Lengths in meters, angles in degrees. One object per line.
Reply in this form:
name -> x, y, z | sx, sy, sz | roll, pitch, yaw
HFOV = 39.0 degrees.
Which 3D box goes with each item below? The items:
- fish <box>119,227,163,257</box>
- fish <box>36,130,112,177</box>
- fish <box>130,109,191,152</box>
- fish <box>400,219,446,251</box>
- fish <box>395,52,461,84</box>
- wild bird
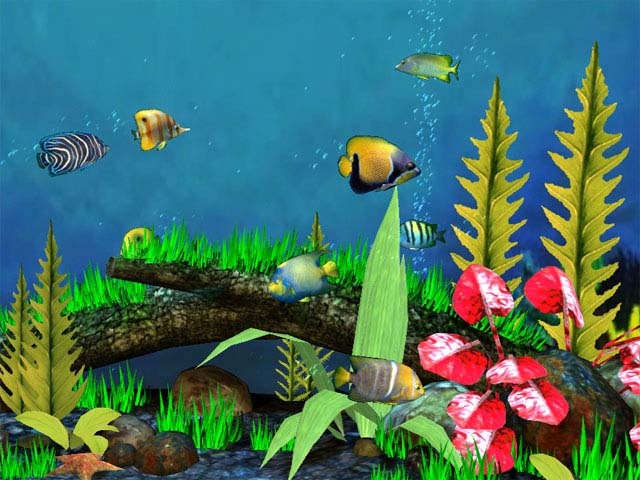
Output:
fish -> -1.415, 0.019, 7.041 | 0.279, 0.319, 0.551 | 1, -9, -13
fish -> -1.846, -0.626, 6.726 | 0.507, 0.333, 0.257 | 1, -8, -13
fish -> -1.227, -0.818, 6.821 | 0.376, 0.305, 0.217 | 1, -8, -13
fish -> 0.780, -0.047, 7.019 | 0.293, 0.211, 0.570 | -5, -10, 24
fish -> 0.833, -1.313, 7.030 | 0.584, 0.334, 0.205 | 5, 7, 2
wild bird -> 0.354, 0.863, 5.575 | 0.547, 0.288, 0.173 | -2, -8, 3
